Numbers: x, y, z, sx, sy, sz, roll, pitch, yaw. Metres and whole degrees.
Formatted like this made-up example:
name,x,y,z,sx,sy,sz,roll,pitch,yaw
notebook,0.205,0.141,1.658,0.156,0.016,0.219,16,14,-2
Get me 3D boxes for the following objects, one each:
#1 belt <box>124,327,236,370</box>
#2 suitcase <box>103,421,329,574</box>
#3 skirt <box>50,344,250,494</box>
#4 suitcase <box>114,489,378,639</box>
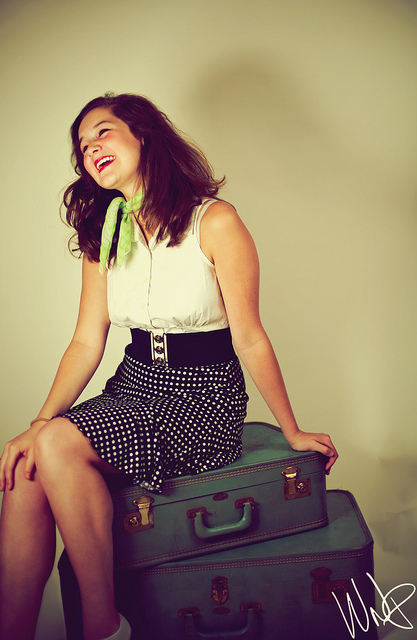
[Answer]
name,x,y,z,sx,sy,sz,roll,pitch,yaw
belt,-0.088,0.040,1.705,0.207,0.124,0.247,8,14,37
suitcase,-0.018,0.506,1.738,0.644,0.196,0.497,-6,-2,-24
skirt,-0.171,0.247,1.624,0.499,0.236,0.669,9,15,24
suitcase,0.107,0.673,1.601,0.695,0.237,0.315,-4,26,-5
